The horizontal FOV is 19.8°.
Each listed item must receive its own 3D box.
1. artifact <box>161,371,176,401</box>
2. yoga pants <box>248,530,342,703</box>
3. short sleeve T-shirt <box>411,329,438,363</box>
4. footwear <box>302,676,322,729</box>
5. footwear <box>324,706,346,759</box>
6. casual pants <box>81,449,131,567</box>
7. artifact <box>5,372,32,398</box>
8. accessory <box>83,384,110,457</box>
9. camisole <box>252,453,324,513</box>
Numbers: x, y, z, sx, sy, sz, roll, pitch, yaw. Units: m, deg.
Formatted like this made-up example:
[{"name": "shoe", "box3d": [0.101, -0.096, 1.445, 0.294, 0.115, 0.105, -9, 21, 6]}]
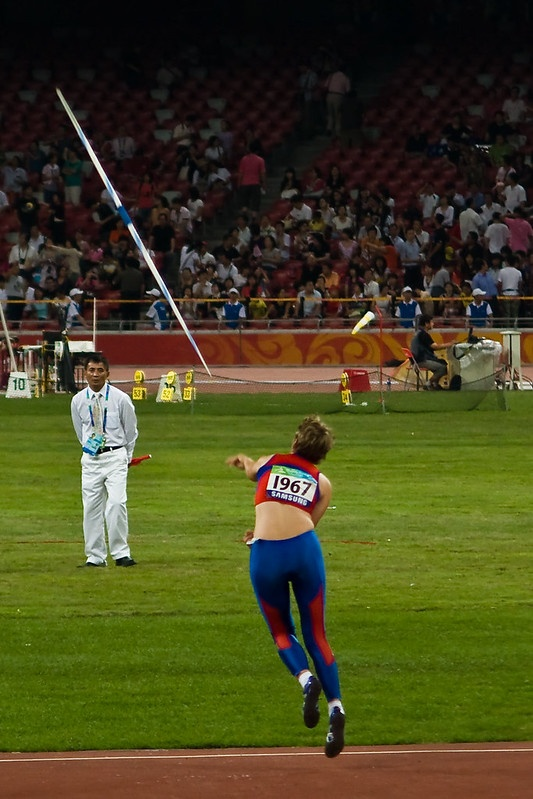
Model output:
[{"name": "artifact", "box3d": [-1.649, -0.184, 26.058, 0.258, 0.474, 0.525, -2, 0, -4]}, {"name": "yoga pants", "box3d": [0.192, 1.161, 8.229, 0.322, 0.802, 0.509, -3, 0, -42]}, {"name": "short sleeve T-shirt", "box3d": [2.788, -0.911, 26.904, 0.400, 0.599, 0.654, -12, 14, -21]}, {"name": "footwear", "box3d": [0.235, 1.577, 7.957, 0.095, 0.258, 0.114, -2, 1, -9]}, {"name": "footwear", "box3d": [0.359, 1.711, 7.862, 0.098, 0.247, 0.111, 0, 2, -6]}, {"name": "casual pants", "box3d": [-1.286, 0.882, 12.404, 0.379, 0.875, 0.552, -3, 0, -7]}, {"name": "artifact", "box3d": [-4.306, -0.235, 26.413, 0.489, 0.430, 0.465, 0, -1, -2]}, {"name": "accessory", "box3d": [-1.360, 0.207, 12.325, 0.209, 0.472, 0.126, -3, 1, -25]}, {"name": "camisole", "box3d": [0.130, 0.463, 8.390, 0.290, 0.169, 0.326, 10, 32, 10]}]
